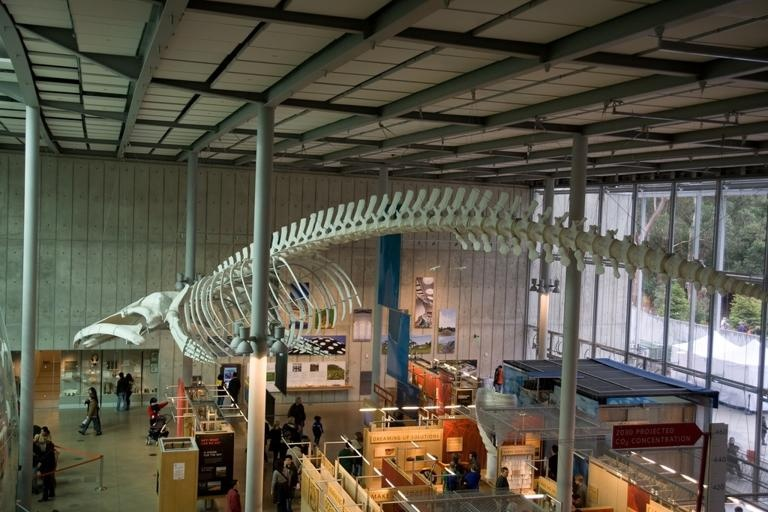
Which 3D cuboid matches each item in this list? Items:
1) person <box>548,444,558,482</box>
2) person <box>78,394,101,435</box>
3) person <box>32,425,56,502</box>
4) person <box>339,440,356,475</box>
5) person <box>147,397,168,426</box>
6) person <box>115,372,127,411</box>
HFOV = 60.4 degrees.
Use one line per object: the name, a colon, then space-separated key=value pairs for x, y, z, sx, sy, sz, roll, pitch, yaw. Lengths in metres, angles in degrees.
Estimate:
person: x=4.040 y=4.838 z=15.740 sx=0.177 sy=0.855 sz=0.630 roll=-1 pitch=-3 yaw=6
person: x=-8.690 y=4.516 z=19.506 sx=0.590 sy=1.306 sz=1.217 roll=0 pitch=-3 yaw=-25
person: x=-7.962 y=4.825 z=15.471 sx=0.472 sy=1.457 sz=1.283 roll=1 pitch=-3 yaw=-27
person: x=-0.885 y=4.852 z=16.142 sx=0.408 sy=0.959 sz=1.460 roll=-1 pitch=-3 yaw=-4
person: x=-6.463 y=4.315 z=18.663 sx=0.334 sy=0.770 sz=1.120 roll=0 pitch=-3 yaw=-18
person: x=-8.667 y=4.425 z=21.742 sx=0.313 sy=1.231 sz=0.724 roll=0 pitch=-3 yaw=-23
